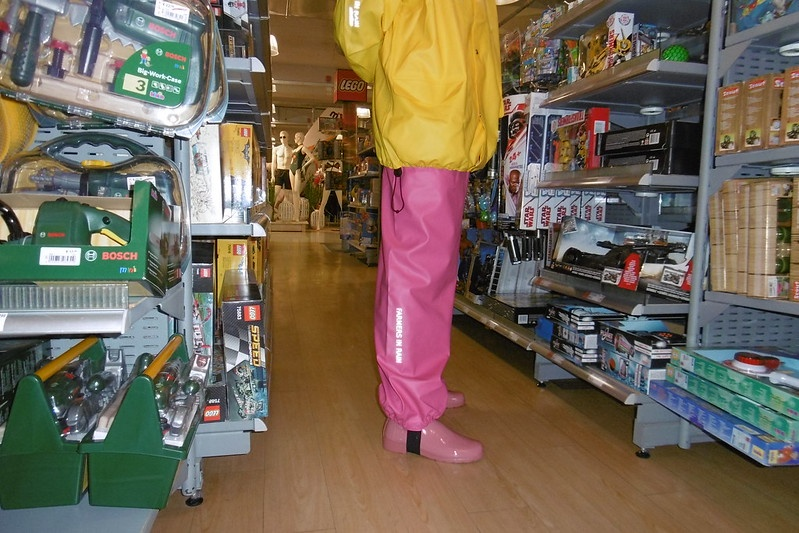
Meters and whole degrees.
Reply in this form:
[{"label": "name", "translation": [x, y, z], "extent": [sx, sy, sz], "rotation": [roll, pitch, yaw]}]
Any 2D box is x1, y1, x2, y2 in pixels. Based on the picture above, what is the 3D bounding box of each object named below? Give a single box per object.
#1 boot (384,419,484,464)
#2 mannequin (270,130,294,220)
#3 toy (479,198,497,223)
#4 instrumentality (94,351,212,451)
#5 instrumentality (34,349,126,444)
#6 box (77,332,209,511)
[{"label": "boot", "translation": [0.152, 0.755, 2.205], "extent": [0.419, 0.166, 0.164], "rotation": [2, -7, 4]}, {"label": "mannequin", "translation": [-3.274, -2.549, 13.914], "extent": [0.642, 2.338, 0.482], "rotation": [-3, 12, -26]}, {"label": "toy", "translation": [0.614, -0.396, 3.511], "extent": [0.121, 0.169, 0.058], "rotation": [26, 51, 33]}, {"label": "instrumentality", "translation": [-0.833, 0.396, 1.700], "extent": [0.368, 0.192, 0.556], "rotation": [10, 6, -14]}, {"label": "instrumentality", "translation": [-1.035, 0.408, 1.616], "extent": [0.156, 0.117, 0.262], "rotation": [-1, 24, -8]}, {"label": "box", "translation": [-0.872, 0.497, 1.776], "extent": [0.325, 0.385, 0.629], "rotation": [10, 4, -15]}]
